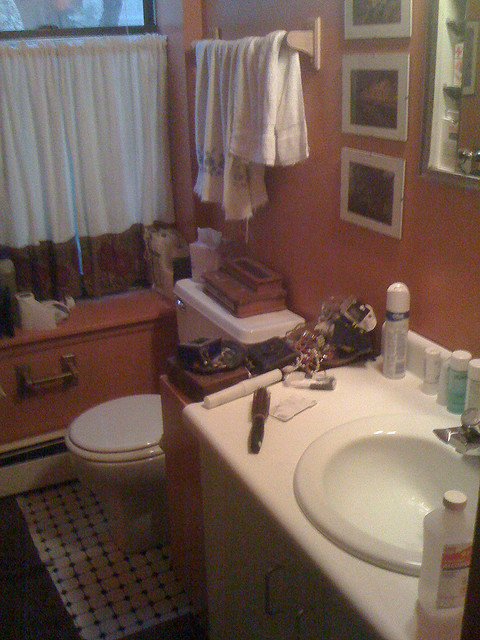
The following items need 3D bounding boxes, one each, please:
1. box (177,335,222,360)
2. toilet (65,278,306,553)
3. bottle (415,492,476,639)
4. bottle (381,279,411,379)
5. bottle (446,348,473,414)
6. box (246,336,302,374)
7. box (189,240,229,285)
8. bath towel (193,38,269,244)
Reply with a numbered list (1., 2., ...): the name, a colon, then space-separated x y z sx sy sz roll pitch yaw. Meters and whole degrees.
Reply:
1. box: -0.098 0.057 1.173 0.059 0.052 0.062 11 26 44
2. toilet: -0.233 0.370 1.662 0.619 0.899 0.464 -7 20 -26
3. bottle: 0.179 0.230 0.456 0.040 0.157 0.047 6 14 24
4. bottle: 0.314 0.023 1.043 0.047 0.200 0.064 4 13 18
5. bottle: 0.380 0.113 0.906 0.035 0.113 0.032 0 12 0
6. box: 0.078 0.065 1.213 0.095 0.081 0.115 -9 27 -23
7. box: -0.107 -0.223 1.817 0.113 0.199 0.157 -15 27 -35
8. bath towel: -0.047 -0.529 1.509 0.177 0.609 0.090 -11 28 -26
